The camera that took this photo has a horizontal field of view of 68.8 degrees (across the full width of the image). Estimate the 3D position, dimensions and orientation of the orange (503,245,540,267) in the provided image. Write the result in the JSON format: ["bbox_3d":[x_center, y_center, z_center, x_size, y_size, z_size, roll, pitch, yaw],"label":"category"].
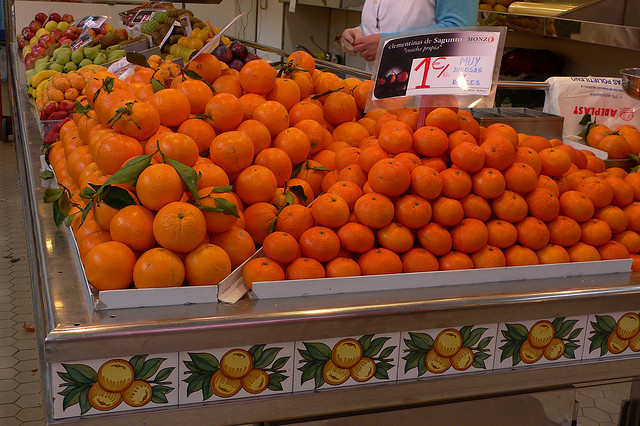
[{"bbox_3d":[0.609,0.133,1.426,0.076,0.066,0.072,0,-16,-1],"label":"orange"}]

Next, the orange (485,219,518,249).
[{"bbox_3d":[0.570,0.053,1.467,0.088,0.077,0.088,10,17,19],"label":"orange"}]

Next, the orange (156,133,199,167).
[{"bbox_3d":[-0.439,-0.186,1.435,0.123,0.109,0.115,-8,-8,-20],"label":"orange"}]

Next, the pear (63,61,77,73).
[{"bbox_3d":[-1.993,-1.170,3.748,0.102,0.080,0.090,15,27,29],"label":"pear"}]

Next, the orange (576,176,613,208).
[{"bbox_3d":[0.910,-0.074,1.589,0.108,0.096,0.103,5,21,1],"label":"orange"}]

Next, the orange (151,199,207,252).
[{"bbox_3d":[-0.371,0.033,1.311,0.140,0.129,0.140,-17,41,-25],"label":"orange"}]

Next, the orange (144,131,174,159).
[{"bbox_3d":[-0.483,-0.201,1.404,0.062,0.060,0.063,33,49,20],"label":"orange"}]

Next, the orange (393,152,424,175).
[{"bbox_3d":[0.283,-0.156,1.467,0.069,0.064,0.068,2,19,0],"label":"orange"}]

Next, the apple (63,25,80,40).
[{"bbox_3d":[-2.388,-1.731,4.491,0.145,0.111,0.210,-10,26,-25],"label":"apple"}]

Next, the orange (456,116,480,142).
[{"bbox_3d":[0.519,-0.291,1.631,0.090,0.083,0.073,3,24,5],"label":"orange"}]

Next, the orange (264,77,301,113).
[{"bbox_3d":[-0.130,-0.452,1.829,0.128,0.147,0.130,-3,-8,27],"label":"orange"}]

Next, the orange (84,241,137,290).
[{"bbox_3d":[-0.589,0.148,1.274,0.159,0.150,0.153,9,-3,-24],"label":"orange"}]

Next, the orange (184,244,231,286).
[{"bbox_3d":[-0.311,0.142,1.309,0.116,0.109,0.107,-1,-3,-12],"label":"orange"}]

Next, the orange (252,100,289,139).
[{"bbox_3d":[-0.169,-0.341,1.668,0.111,0.119,0.107,-17,3,-8],"label":"orange"}]

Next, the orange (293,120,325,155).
[{"bbox_3d":[-0.032,-0.267,1.714,0.126,0.134,0.121,-4,-11,-11],"label":"orange"}]

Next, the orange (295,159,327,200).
[{"bbox_3d":[-0.021,-0.122,1.683,0.118,0.137,0.121,17,30,35],"label":"orange"}]

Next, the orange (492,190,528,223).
[{"bbox_3d":[0.618,-0.016,1.496,0.112,0.091,0.111,12,30,11],"label":"orange"}]

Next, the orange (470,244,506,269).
[{"bbox_3d":[0.505,0.132,1.411,0.077,0.070,0.073,-3,-10,-3],"label":"orange"}]

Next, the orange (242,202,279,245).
[{"bbox_3d":[-0.179,0.024,1.465,0.125,0.119,0.122,-1,12,-43],"label":"orange"}]

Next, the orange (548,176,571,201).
[{"bbox_3d":[0.815,-0.080,1.576,0.074,0.083,0.073,-3,7,10],"label":"orange"}]

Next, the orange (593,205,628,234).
[{"bbox_3d":[0.965,0.012,1.588,0.098,0.090,0.095,8,22,12],"label":"orange"}]

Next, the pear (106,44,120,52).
[{"bbox_3d":[-1.668,-1.336,3.779,0.094,0.029,0.045,-20,34,-18],"label":"pear"}]

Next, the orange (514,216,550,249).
[{"bbox_3d":[0.661,0.061,1.497,0.098,0.084,0.094,-2,7,-20],"label":"orange"}]

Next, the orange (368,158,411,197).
[{"bbox_3d":[0.216,-0.123,1.445,0.116,0.098,0.114,6,20,19],"label":"orange"}]

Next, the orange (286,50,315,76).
[{"bbox_3d":[-0.084,-0.614,1.976,0.102,0.098,0.101,-40,32,-27],"label":"orange"}]

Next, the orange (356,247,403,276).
[{"bbox_3d":[0.184,0.138,1.345,0.092,0.063,0.086,-3,-4,-18],"label":"orange"}]

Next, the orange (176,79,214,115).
[{"bbox_3d":[-0.432,-0.422,1.702,0.126,0.135,0.119,-15,17,-38],"label":"orange"}]

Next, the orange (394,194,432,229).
[{"bbox_3d":[0.278,-0.004,1.449,0.102,0.073,0.104,14,28,24],"label":"orange"}]

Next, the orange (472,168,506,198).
[{"bbox_3d":[0.527,-0.094,1.459,0.095,0.082,0.090,0,16,3],"label":"orange"}]

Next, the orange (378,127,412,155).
[{"bbox_3d":[0.249,-0.242,1.561,0.129,0.092,0.124,3,9,-15],"label":"orange"}]

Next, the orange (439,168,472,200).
[{"bbox_3d":[0.422,-0.089,1.492,0.095,0.082,0.090,-5,18,-20],"label":"orange"}]

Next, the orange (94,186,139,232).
[{"bbox_3d":[-0.591,-0.024,1.359,0.088,0.097,0.086,2,23,-44],"label":"orange"}]

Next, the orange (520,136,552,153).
[{"bbox_3d":[0.790,-0.251,1.714,0.080,0.069,0.076,-3,-6,-10],"label":"orange"}]

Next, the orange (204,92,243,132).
[{"bbox_3d":[-0.329,-0.341,1.601,0.131,0.144,0.125,-8,0,-14],"label":"orange"}]

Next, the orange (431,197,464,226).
[{"bbox_3d":[0.387,-0.005,1.421,0.090,0.063,0.085,1,3,-5],"label":"orange"}]

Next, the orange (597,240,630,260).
[{"bbox_3d":[0.931,0.121,1.489,0.069,0.064,0.065,-1,0,-5],"label":"orange"}]

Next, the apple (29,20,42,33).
[{"bbox_3d":[-3.035,-2.001,5.048,0.144,0.131,0.142,-10,20,-44],"label":"apple"}]

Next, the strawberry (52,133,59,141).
[{"bbox_3d":[-1.332,-0.382,2.375,0.045,0.041,0.043,-7,13,-38],"label":"strawberry"}]

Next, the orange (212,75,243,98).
[{"bbox_3d":[-0.353,-0.465,1.791,0.099,0.092,0.091,-3,-2,-20],"label":"orange"}]

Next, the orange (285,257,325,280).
[{"bbox_3d":[-0.042,0.160,1.308,0.071,0.064,0.071,4,6,29],"label":"orange"}]

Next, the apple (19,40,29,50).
[{"bbox_3d":[-3.133,-1.783,4.951,0.086,0.087,0.087,-14,28,-32],"label":"apple"}]

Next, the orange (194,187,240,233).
[{"bbox_3d":[-0.286,-0.010,1.353,0.140,0.130,0.126,0,-1,-11],"label":"orange"}]

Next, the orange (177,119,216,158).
[{"bbox_3d":[-0.397,-0.256,1.581,0.129,0.144,0.126,-2,13,-3],"label":"orange"}]

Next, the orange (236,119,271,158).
[{"bbox_3d":[-0.207,-0.248,1.550,0.122,0.136,0.117,1,8,-8],"label":"orange"}]

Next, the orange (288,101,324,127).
[{"bbox_3d":[-0.056,-0.370,1.771,0.105,0.094,0.100,-3,-8,-3],"label":"orange"}]

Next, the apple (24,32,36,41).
[{"bbox_3d":[-3.104,-1.888,5.018,0.115,0.057,0.113,2,7,7],"label":"apple"}]

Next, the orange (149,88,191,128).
[{"bbox_3d":[-0.476,-0.350,1.550,0.138,0.127,0.127,-6,33,-11],"label":"orange"}]

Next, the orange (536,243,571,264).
[{"bbox_3d":[0.721,0.126,1.443,0.067,0.063,0.064,-1,-6,1],"label":"orange"}]

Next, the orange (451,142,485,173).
[{"bbox_3d":[0.466,-0.172,1.470,0.098,0.084,0.093,4,-1,1],"label":"orange"}]

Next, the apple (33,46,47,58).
[{"bbox_3d":[-2.524,-1.446,4.243,0.113,0.105,0.108,13,17,-4],"label":"apple"}]

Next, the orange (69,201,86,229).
[{"bbox_3d":[-0.781,0.001,1.511,0.052,0.083,0.071,-5,-19,-10],"label":"orange"}]
